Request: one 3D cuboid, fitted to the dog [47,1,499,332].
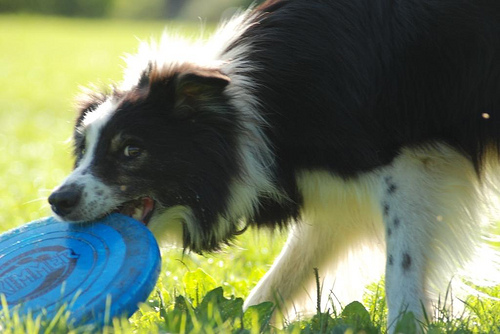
[{"bbox_3d":[0.422,-0.099,4.762,2.991,1.792,1.878,9,-50,11],"label":"dog"}]
